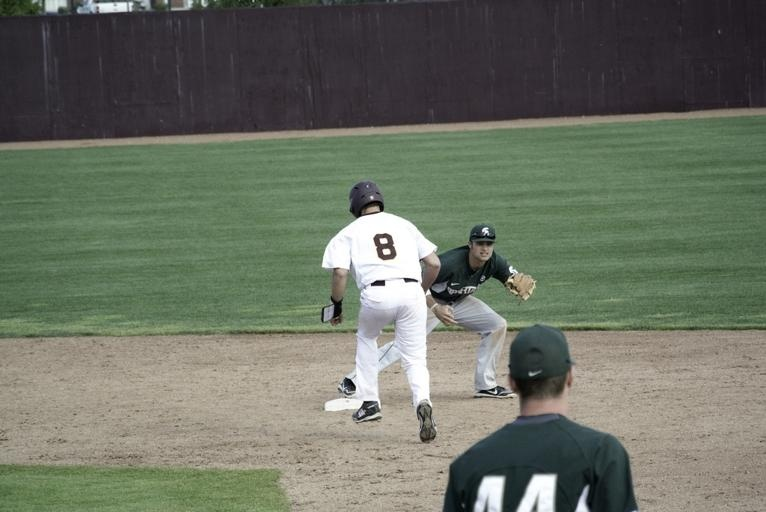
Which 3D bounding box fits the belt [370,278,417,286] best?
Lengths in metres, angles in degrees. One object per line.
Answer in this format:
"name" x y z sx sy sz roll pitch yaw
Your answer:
"belt" 0.268 0.538 34.963 0.942 0.157 0.112 -1 3 -11
